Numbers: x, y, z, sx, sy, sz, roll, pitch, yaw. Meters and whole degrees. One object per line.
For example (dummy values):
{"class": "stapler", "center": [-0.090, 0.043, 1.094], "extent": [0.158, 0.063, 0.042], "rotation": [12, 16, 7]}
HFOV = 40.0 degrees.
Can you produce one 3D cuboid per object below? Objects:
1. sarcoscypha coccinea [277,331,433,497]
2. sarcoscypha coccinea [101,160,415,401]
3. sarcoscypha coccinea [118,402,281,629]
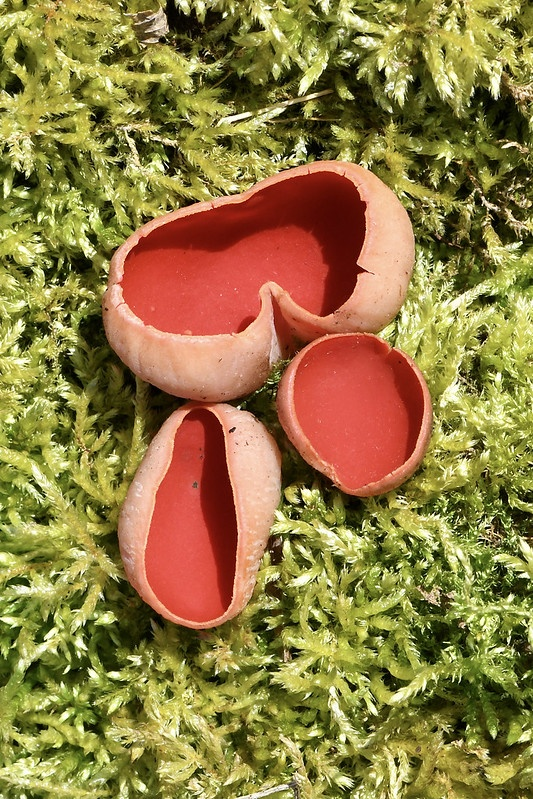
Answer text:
{"class": "sarcoscypha coccinea", "center": [0.233, 0.047, 1.927], "extent": [0.362, 0.245, 0.405], "rotation": [-23, 68, -16]}
{"class": "sarcoscypha coccinea", "center": [-0.004, -0.334, 1.991], "extent": [0.837, 0.359, 0.502], "rotation": [-27, 68, -1]}
{"class": "sarcoscypha coccinea", "center": [-0.147, 0.314, 2.027], "extent": [0.447, 0.253, 0.613], "rotation": [15, 90, 3]}
